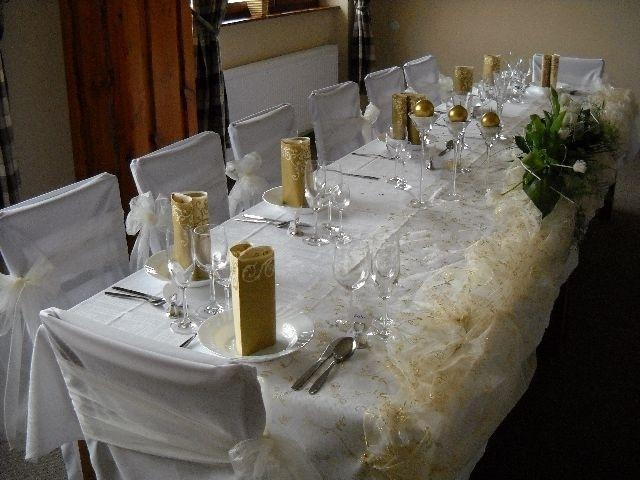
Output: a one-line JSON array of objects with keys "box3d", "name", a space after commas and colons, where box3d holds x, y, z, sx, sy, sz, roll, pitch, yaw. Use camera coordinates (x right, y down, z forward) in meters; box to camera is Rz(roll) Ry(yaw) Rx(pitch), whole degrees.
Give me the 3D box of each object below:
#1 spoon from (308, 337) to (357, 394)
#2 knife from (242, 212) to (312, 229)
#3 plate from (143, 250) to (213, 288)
[{"box3d": [0.040, 0.288, 1.123, 0.044, 0.037, 0.238, 9, 31, 17], "name": "spoon"}, {"box3d": [-0.174, -0.077, 1.837, 0.217, 0.023, 0.042, 5, 24, 22], "name": "knife"}, {"box3d": [-0.501, 0.079, 1.504, 0.136, 0.039, 0.137, -19, 47, -41], "name": "plate"}]
